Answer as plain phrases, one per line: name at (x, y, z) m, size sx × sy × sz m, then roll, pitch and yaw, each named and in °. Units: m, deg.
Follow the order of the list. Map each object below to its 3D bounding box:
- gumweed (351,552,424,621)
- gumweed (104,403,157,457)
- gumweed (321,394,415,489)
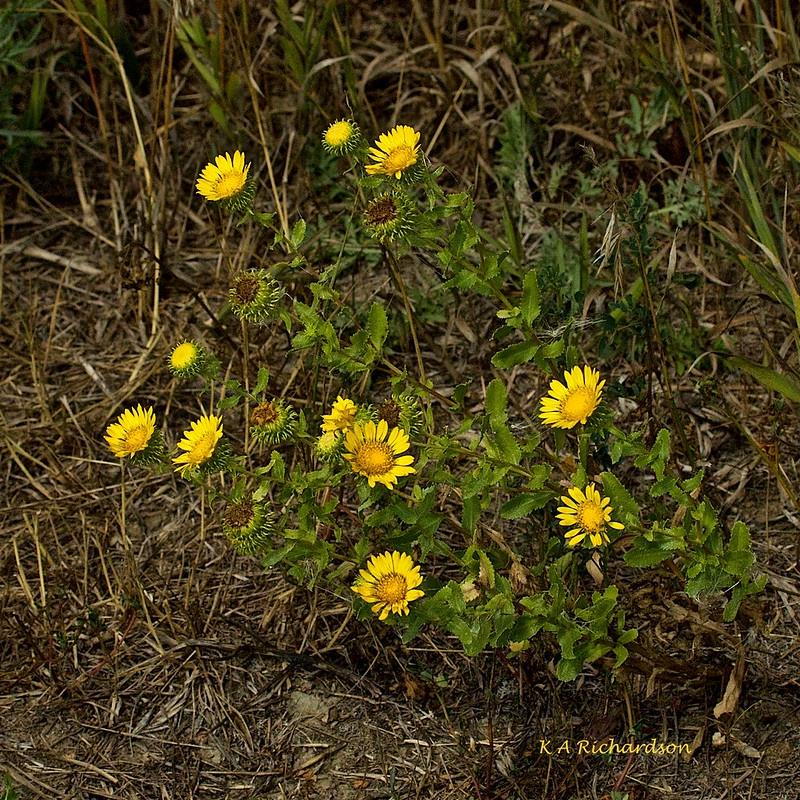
gumweed at (-0.021, 0.404, 1.890) m, size 0.137 × 0.096 × 0.139 m, roll 40°, pitch 86°, yaw 5°
gumweed at (-0.623, 0.066, 1.986) m, size 0.098 × 0.101 × 0.044 m, roll 31°, pitch 88°, yaw -34°
gumweed at (-0.041, 0.123, 1.819) m, size 0.171 × 0.079 × 0.181 m, roll -7°, pitch 45°, yaw -30°
